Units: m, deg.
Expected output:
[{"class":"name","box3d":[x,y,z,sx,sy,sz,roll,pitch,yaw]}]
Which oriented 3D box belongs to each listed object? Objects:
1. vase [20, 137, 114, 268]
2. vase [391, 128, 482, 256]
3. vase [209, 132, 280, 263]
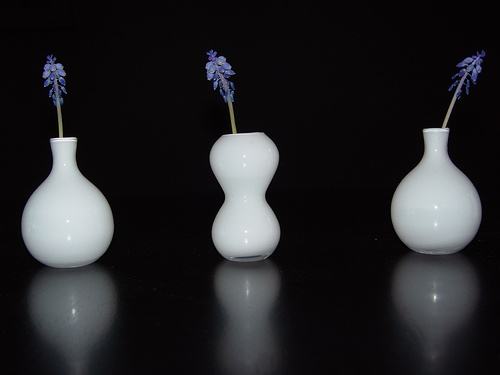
[{"class":"vase","box3d":[-0.494,0.051,1.244,0.242,0.380,0.245,0,5,-34]},{"class":"vase","box3d":[0.520,0.016,1.278,0.227,0.355,0.233,4,-4,-26]},{"class":"vase","box3d":[-0.007,0.021,1.259,0.183,0.361,0.202,7,12,40]}]
